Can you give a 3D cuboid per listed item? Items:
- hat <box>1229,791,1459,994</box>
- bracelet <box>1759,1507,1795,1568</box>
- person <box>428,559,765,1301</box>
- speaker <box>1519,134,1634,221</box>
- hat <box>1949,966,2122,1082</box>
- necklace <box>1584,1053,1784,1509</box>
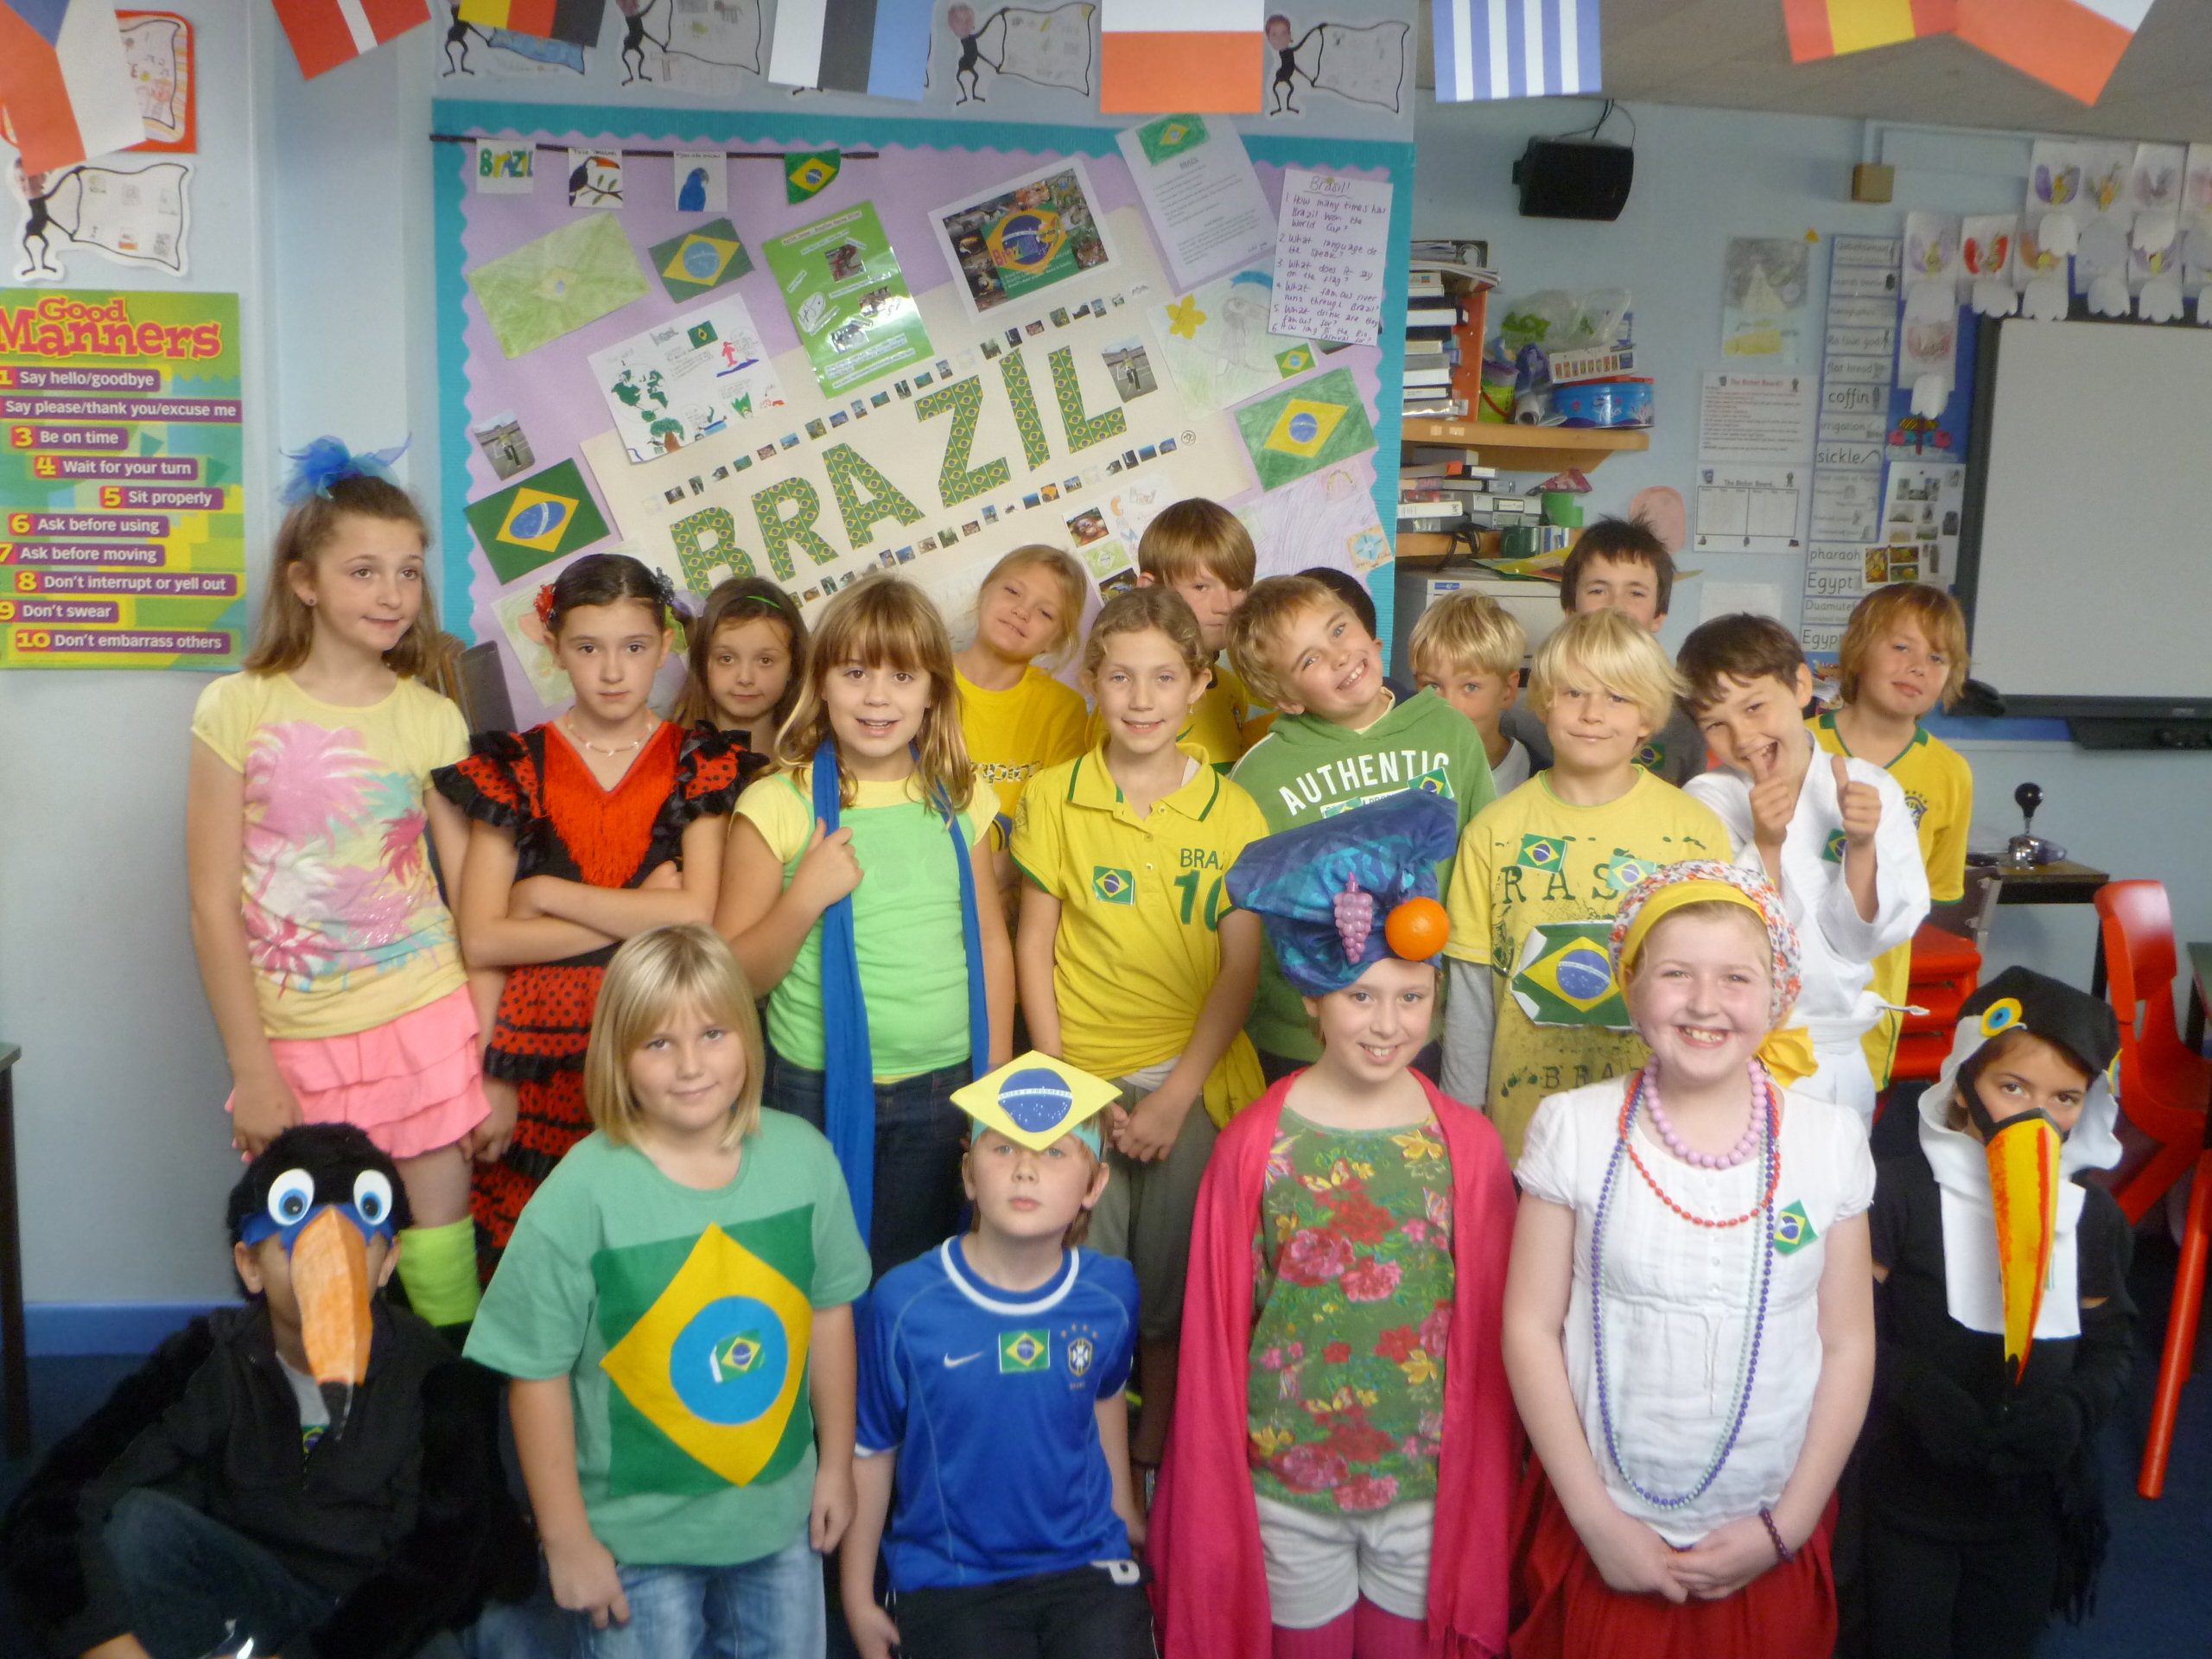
[{"bbox_3d":[0.311,0.089,2.337,0.291,0.250,0.183,0,13,10],"label":"hat"},{"bbox_3d":[0.830,0.867,2.201,0.015,0.053,0.055,-24,22,12],"label":"bracelet"},{"bbox_3d":[-0.878,0.248,2.946,0.593,1.329,0.314,1,14,-33],"label":"person"},{"bbox_3d":[1.387,-1.907,5.325,0.363,0.277,0.197,5,28,-2],"label":"speaker"},{"bbox_3d":[1.352,0.272,2.607,0.153,0.110,0.197,29,7,-1],"label":"hat"},{"bbox_3d":[0.727,0.582,2.241,0.222,0.509,0.200,2,14,20],"label":"necklace"}]
